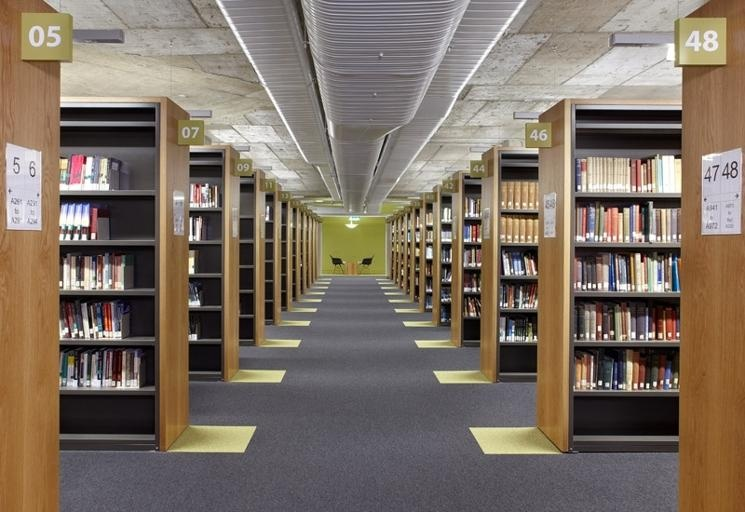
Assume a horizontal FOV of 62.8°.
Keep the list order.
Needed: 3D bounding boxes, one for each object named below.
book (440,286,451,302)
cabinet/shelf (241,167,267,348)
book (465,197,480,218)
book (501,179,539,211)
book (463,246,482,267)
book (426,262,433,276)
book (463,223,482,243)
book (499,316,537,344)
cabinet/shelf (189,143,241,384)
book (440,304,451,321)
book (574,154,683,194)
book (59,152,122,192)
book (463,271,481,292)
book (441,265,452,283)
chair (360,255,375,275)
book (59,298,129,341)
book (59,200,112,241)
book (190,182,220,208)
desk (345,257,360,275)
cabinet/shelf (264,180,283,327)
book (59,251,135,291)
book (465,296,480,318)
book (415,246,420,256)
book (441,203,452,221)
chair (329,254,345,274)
[{"bbox_3d":[1.429,0.737,11.928,0.349,0.324,0.181,0,-4,-8],"label":"book"},{"bbox_3d":[-1.884,0.056,9.553,0.397,2.762,0.582,-1,5,-12],"label":"cabinet/shelf"},{"bbox_3d":[1.610,-0.771,9.763,0.305,0.399,0.287,3,1,10],"label":"book"},{"bbox_3d":[1.891,-0.776,7.832,0.475,0.362,0.161,1,5,3],"label":"book"},{"bbox_3d":[1.588,0.032,9.656,0.267,0.334,0.358,1,-4,5],"label":"book"},{"bbox_3d":[1.357,0.318,14.320,0.273,0.338,0.359,1,-2,1],"label":"book"},{"bbox_3d":[1.604,-0.346,9.735,0.261,0.318,0.340,1,-2,3],"label":"book"},{"bbox_3d":[1.883,0.946,8.029,0.479,0.327,0.452,1,3,-7],"label":"book"},{"bbox_3d":[-2.087,0.065,7.917,0.727,2.932,0.835,0,5,-1],"label":"cabinet/shelf"},{"bbox_3d":[1.453,1.137,12.060,0.229,0.309,0.083,0,-9,-4],"label":"book"},{"bbox_3d":[2.398,-0.772,5.759,1.016,0.346,0.192,0,5,-3],"label":"book"},{"bbox_3d":[-2.588,-0.761,5.622,0.520,0.324,0.307,-2,5,-23],"label":"book"},{"bbox_3d":[1.572,0.413,9.656,0.283,0.360,0.374,0,-3,5],"label":"book"},{"bbox_3d":[1.456,0.346,11.920,0.219,0.284,0.105,1,-8,-2],"label":"book"},{"bbox_3d":[-0.294,0.504,34.501,0.979,1.268,1.006,1,-5,-5],"label":"chair"},{"bbox_3d":[-2.582,0.580,5.649,0.642,0.334,0.386,0,-1,8],"label":"book"},{"bbox_3d":[-2.666,-0.317,5.659,0.417,0.332,0.217,-2,6,-27],"label":"book"},{"bbox_3d":[-2.173,-0.769,8.090,0.425,0.377,0.286,0,-5,-4],"label":"book"},{"bbox_3d":[-1.171,0.668,34.073,0.732,0.801,0.717,0,2,-37],"label":"desk"},{"bbox_3d":[-1.978,0.019,12.135,0.303,2.633,0.937,-1,5,-10],"label":"cabinet/shelf"},{"bbox_3d":[-2.550,0.146,5.609,0.543,0.345,0.317,0,-3,2],"label":"book"},{"bbox_3d":[1.605,0.806,9.796,0.292,0.384,0.346,0,-1,3],"label":"book"},{"bbox_3d":[1.186,-0.115,15.969,0.207,0.196,0.370,-3,-14,4],"label":"book"},{"bbox_3d":[1.436,-0.846,12.132,0.279,0.482,0.255,0,-3,4],"label":"book"},{"bbox_3d":[-1.923,0.455,34.417,0.974,1.254,1.005,-1,2,1],"label":"chair"}]
